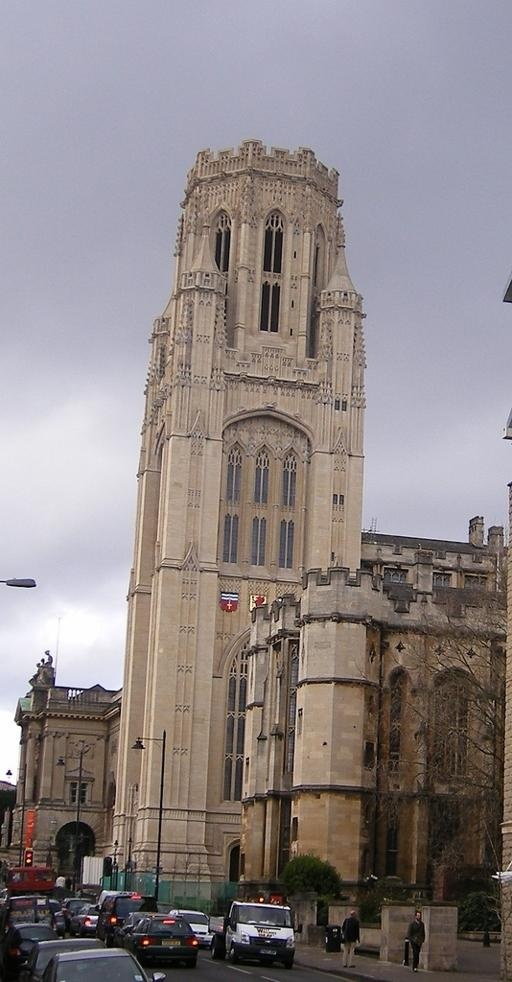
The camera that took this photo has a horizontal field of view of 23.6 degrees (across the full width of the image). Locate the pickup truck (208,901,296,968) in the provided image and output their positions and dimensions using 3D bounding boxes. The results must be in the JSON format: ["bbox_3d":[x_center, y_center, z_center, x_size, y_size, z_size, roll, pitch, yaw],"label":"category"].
[{"bbox_3d":[-0.010,10.754,29.753,1.398,1.183,2.625,4,-25,-7],"label":"pickup truck"}]

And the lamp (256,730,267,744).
[{"bbox_3d":[0.223,11.094,55.433,0.213,0.558,0.594,9,-13,-36],"label":"lamp"}]

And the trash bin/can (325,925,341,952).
[{"bbox_3d":[2.173,12.883,35.355,0.418,0.690,0.555,1,-11,4],"label":"trash bin/can"}]

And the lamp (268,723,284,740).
[{"bbox_3d":[0.789,10.432,53.035,0.581,0.873,0.627,2,-3,-18],"label":"lamp"}]
